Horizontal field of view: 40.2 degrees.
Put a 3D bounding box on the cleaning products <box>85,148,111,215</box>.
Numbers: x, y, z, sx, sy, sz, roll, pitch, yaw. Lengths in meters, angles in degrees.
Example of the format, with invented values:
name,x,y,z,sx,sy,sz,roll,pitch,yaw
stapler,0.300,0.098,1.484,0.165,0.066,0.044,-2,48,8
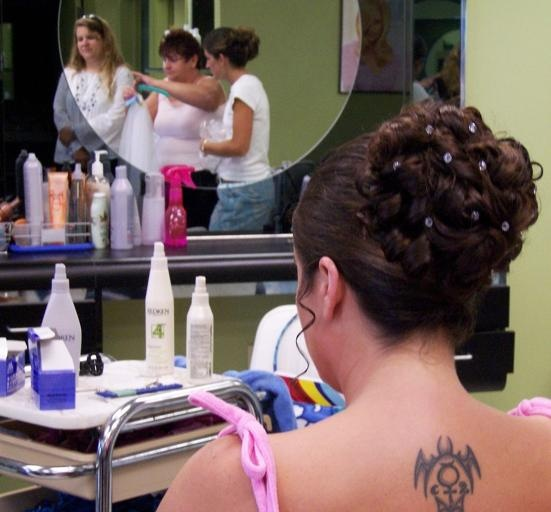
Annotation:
name,x,y,z,sx,sy,sz,roll,pitch,yaw
cleaning products,-0.480,-0.199,2.040,0.063,0.173,0.102,-2,4,-14

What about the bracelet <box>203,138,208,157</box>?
name,x,y,z,sx,sy,sz,roll,pitch,yaw
bracelet,-0.195,-0.312,2.157,0.010,0.037,0.024,2,-1,2

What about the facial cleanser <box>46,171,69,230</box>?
name,x,y,z,sx,sy,sz,roll,pitch,yaw
facial cleanser,-0.568,-0.151,2.000,0.071,0.128,0.052,-4,5,-43
